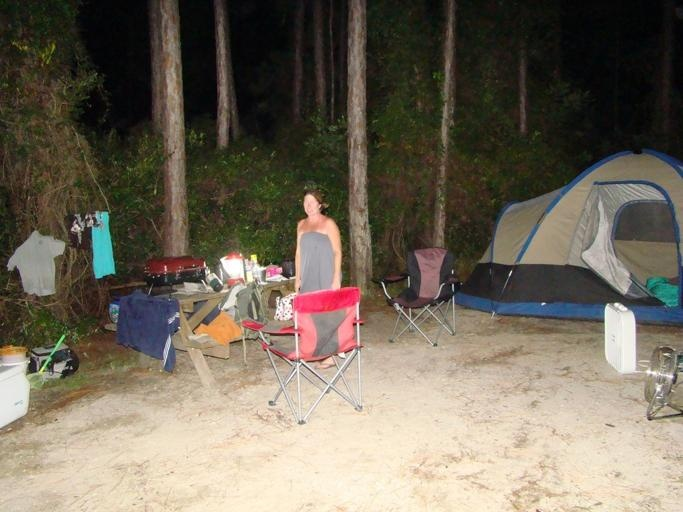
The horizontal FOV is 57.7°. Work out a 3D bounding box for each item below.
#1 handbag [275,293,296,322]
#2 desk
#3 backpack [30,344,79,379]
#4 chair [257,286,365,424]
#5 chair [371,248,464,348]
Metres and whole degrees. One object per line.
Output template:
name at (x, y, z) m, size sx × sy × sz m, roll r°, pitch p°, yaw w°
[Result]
handbag at (-0.674, 0.609, 7.357) m, size 0.304 × 0.364 × 0.186 m, roll 20°, pitch -29°, yaw -37°
desk at (-1.838, 0.838, 7.570) m, size 1.160 × 0.723 × 1.318 m, roll 2°, pitch 5°, yaw 29°
backpack at (-3.427, 1.267, 7.382) m, size 0.434 × 0.364 × 0.292 m, roll -1°, pitch 4°, yaw -42°
chair at (-0.301, 0.968, 6.659) m, size 0.940 × 1.348 × 1.124 m, roll 3°, pitch 7°, yaw 42°
chair at (1.025, 0.541, 8.466) m, size 0.995 × 1.276 × 0.972 m, roll -2°, pitch 6°, yaw -6°
